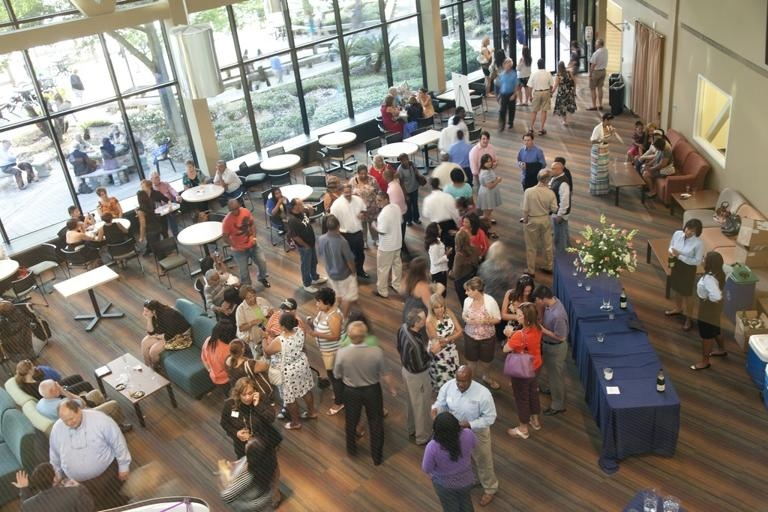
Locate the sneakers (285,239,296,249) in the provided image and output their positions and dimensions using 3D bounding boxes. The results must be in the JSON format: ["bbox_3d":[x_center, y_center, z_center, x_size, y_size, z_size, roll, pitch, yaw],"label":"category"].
[{"bbox_3d":[-1.863,-0.211,10.493,0.223,0.249,0.276,-3,-6,-4],"label":"sneakers"}]

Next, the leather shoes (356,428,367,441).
[{"bbox_3d":[-0.294,2.315,7.043,0.147,0.102,0.110,-19,28,-25],"label":"leather shoes"}]

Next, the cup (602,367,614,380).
[{"bbox_3d":[2.740,1.398,6.426,0.111,0.096,0.122,-2,27,1],"label":"cup"}]

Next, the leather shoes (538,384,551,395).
[{"bbox_3d":[2.250,1.830,7.359,0.273,0.111,0.085,-16,15,38],"label":"leather shoes"}]

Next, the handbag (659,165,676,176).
[{"bbox_3d":[5.781,-1.697,10.718,0.180,0.135,0.256,-15,15,-12],"label":"handbag"}]

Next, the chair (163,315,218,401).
[{"bbox_3d":[-2.873,1.522,7.840,0.784,0.781,0.772,29,39,36],"label":"chair"}]

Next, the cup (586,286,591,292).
[{"bbox_3d":[2.967,0.468,7.612,0.061,0.063,0.046,16,-8,15],"label":"cup"}]

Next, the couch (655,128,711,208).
[{"bbox_3d":[6.038,-1.677,10.611,0.691,0.709,1.663,-8,41,9],"label":"couch"}]

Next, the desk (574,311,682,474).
[{"bbox_3d":[3.207,1.648,7.112,0.996,0.799,2.320,-7,20,11],"label":"desk"}]

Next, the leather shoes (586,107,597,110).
[{"bbox_3d":[5.848,-4.051,14.807,0.220,0.088,0.095,11,31,23],"label":"leather shoes"}]

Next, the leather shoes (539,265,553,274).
[{"bbox_3d":[2.870,0.220,9.312,0.089,0.105,0.248,-27,40,-23],"label":"leather shoes"}]

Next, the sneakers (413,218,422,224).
[{"bbox_3d":[0.717,-0.712,11.079,0.146,0.101,0.085,-2,23,25],"label":"sneakers"}]

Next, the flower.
[{"bbox_3d":[3.405,-0.113,8.229,0.742,0.724,0.717,-39,49,-11],"label":"flower"}]

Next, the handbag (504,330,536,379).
[{"bbox_3d":[1.681,1.181,6.441,0.449,0.597,0.235,13,28,34],"label":"handbag"}]

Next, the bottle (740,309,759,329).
[{"bbox_3d":[5.271,0.895,7.554,0.225,0.159,0.226,-5,25,2],"label":"bottle"}]

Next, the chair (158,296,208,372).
[{"bbox_3d":[-3.051,1.213,8.028,0.583,0.854,0.781,29,41,36],"label":"chair"}]

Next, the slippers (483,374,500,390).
[{"bbox_3d":[1.537,1.759,7.444,0.141,0.085,0.250,-29,45,-34],"label":"slippers"}]

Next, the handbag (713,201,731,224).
[{"bbox_3d":[5.966,-0.740,9.271,0.260,0.300,0.262,-22,40,-8],"label":"handbag"}]

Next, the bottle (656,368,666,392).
[{"bbox_3d":[3.279,1.442,6.209,0.099,0.218,0.159,9,29,29],"label":"bottle"}]

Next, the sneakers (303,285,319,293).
[{"bbox_3d":[-1.294,0.580,9.418,0.310,0.136,0.136,8,27,22],"label":"sneakers"}]

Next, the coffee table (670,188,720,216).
[{"bbox_3d":[6.000,-1.057,10.096,0.642,0.321,0.498,-5,44,2],"label":"coffee table"}]

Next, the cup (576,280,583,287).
[{"bbox_3d":[2.861,0.391,7.687,0.072,0.082,0.077,-3,30,2],"label":"cup"}]

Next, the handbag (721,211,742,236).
[{"bbox_3d":[5.855,-0.507,8.870,0.254,0.400,0.390,-7,7,-32],"label":"handbag"}]

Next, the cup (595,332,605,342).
[{"bbox_3d":[2.824,1.030,6.861,0.095,0.082,0.102,-1,19,0],"label":"cup"}]

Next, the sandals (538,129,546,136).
[{"bbox_3d":[4.152,-3.160,13.744,0.091,0.112,0.251,8,32,28],"label":"sandals"}]

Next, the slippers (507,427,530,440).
[{"bbox_3d":[1.757,2.234,6.832,0.208,0.079,0.130,17,34,24],"label":"slippers"}]

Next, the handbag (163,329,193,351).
[{"bbox_3d":[-3.140,1.288,8.056,0.381,0.261,0.089,-10,16,-26],"label":"handbag"}]

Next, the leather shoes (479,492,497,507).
[{"bbox_3d":[1.209,2.780,6.160,0.172,0.097,0.141,0,26,12],"label":"leather shoes"}]

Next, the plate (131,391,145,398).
[{"bbox_3d":[-3.385,1.875,7.276,0.128,0.032,0.093,8,39,1],"label":"plate"}]

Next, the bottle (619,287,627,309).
[{"bbox_3d":[3.293,0.578,7.256,0.089,0.278,0.091,-11,46,11],"label":"bottle"}]

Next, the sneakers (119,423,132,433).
[{"bbox_3d":[-3.665,2.396,7.515,0.226,0.100,0.084,-3,33,-8],"label":"sneakers"}]

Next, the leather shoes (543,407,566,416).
[{"bbox_3d":[2.319,2.041,7.122,0.302,0.140,0.113,1,12,-2],"label":"leather shoes"}]
